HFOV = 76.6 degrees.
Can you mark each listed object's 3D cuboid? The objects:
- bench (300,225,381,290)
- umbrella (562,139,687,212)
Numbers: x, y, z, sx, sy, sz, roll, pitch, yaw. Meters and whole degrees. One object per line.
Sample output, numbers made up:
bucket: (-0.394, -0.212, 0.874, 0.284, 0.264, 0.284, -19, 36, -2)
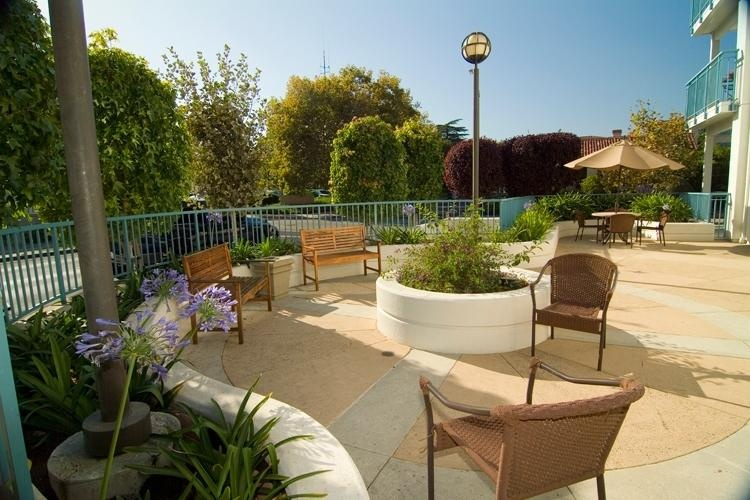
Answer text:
bench: (-0.753, 0.105, 9.998, 1.622, 1.189, 0.945, -5, 7, -27)
umbrella: (6.646, -2.452, 12.475, 2.192, 1.789, 2.363, 1, 18, 16)
